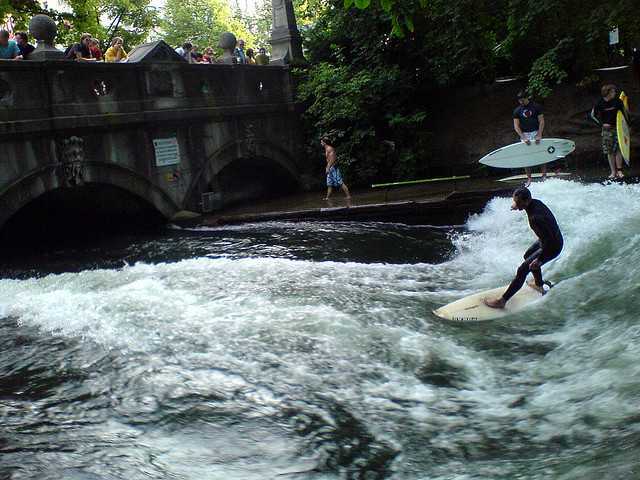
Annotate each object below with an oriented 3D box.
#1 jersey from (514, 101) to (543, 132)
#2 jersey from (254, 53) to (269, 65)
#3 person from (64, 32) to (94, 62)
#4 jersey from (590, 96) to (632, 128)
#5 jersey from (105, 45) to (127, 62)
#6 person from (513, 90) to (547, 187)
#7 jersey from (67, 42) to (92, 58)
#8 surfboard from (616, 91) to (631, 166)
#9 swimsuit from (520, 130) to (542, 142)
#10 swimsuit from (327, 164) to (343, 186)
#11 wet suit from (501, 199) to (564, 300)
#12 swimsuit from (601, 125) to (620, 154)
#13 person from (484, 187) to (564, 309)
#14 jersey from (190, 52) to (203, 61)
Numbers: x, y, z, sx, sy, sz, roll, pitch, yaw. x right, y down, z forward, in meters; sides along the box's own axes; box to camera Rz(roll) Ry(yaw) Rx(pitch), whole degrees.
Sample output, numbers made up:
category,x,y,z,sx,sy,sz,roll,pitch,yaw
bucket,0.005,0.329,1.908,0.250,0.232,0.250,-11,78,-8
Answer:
category,x,y,z,sx,sy,sz,roll,pitch,yaw
jersey,4.614,-2.737,12.595,0.754,0.611,0.346,-9,25,5
jersey,-2.048,-6.244,19.451,0.500,0.353,0.587,-4,14,-6
person,-5.924,-4.687,13.791,0.758,0.645,0.567,3,13,-10
jersey,6.145,-2.667,11.897,0.712,0.641,0.821,6,17,28
jersey,-5.338,-4.794,14.541,0.457,0.443,1.033,-7,15,-15
person,4.637,-2.690,12.510,0.608,1.150,0.706,2,16,16
jersey,-5.973,-4.582,13.867,0.443,0.526,0.622,2,14,-34
surfboard,6.377,-2.150,11.852,0.281,1.040,0.839,5,17,26
swimsuit,4.723,-2.287,12.609,0.364,0.218,0.222,-1,0,40
swimsuit,0.380,-1.782,15.799,0.397,0.575,0.599,-3,15,0
wet suit,3.537,0.215,9.304,1.183,1.727,1.059,5,36,28
swimsuit,6.168,-2.101,11.930,0.359,0.593,0.216,4,17,22
person,3.224,0.054,8.657,0.919,1.799,1.415,4,16,22
jersey,-3.683,-5.407,16.576,0.235,0.106,0.270,-4,-22,-16
